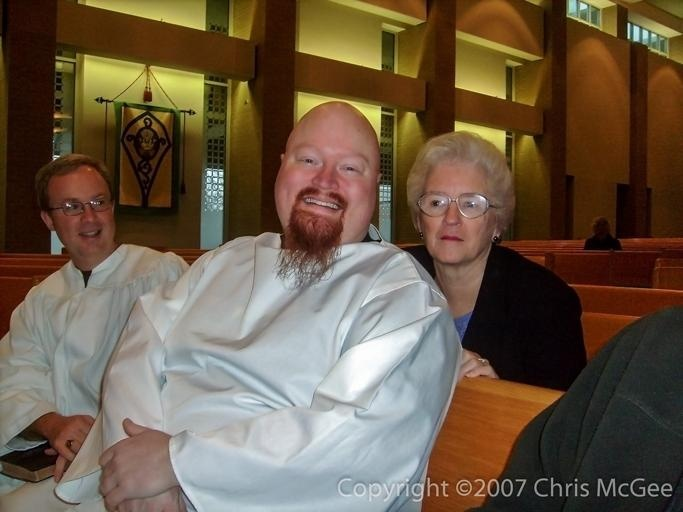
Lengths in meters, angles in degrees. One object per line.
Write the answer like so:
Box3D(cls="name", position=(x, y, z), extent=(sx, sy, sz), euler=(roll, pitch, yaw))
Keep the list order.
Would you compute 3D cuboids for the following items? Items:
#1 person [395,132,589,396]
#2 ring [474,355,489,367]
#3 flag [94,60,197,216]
Box3D(cls="person", position=(0.584, 0.212, 2.733), extent=(0.956, 1.451, 0.723), euler=(1, -3, 25))
Box3D(cls="ring", position=(0.476, 0.364, 2.020), extent=(0.048, 0.028, 0.068), euler=(-6, -13, 27))
Box3D(cls="flag", position=(-3.055, -1.767, 9.135), extent=(1.523, 2.414, 0.181), euler=(2, -17, -20))
